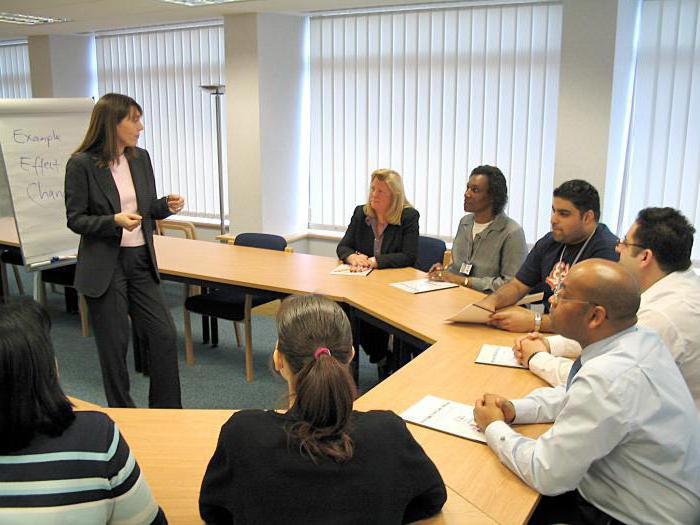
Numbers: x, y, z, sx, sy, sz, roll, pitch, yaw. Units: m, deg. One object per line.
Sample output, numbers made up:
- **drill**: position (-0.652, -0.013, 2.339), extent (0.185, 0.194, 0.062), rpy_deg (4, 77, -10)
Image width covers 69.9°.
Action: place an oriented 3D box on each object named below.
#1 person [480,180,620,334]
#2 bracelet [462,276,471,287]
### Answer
- **person**: position (1.119, 0.040, 2.828), extent (0.780, 0.962, 0.667), rpy_deg (-3, 11, -1)
- **bracelet**: position (0.774, 0.128, 3.347), extent (0.036, 0.062, 0.058), rpy_deg (2, 4, 9)
